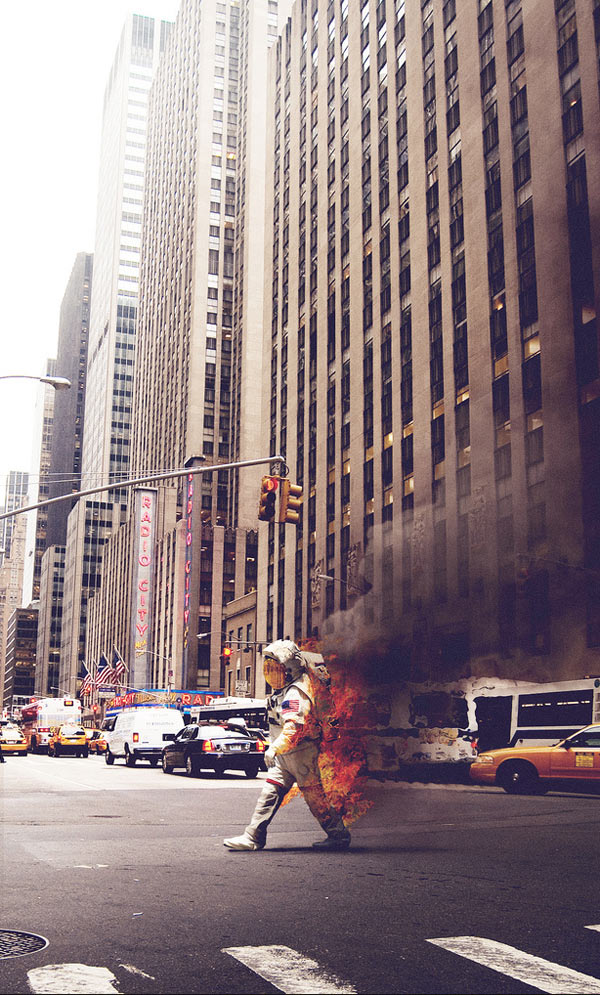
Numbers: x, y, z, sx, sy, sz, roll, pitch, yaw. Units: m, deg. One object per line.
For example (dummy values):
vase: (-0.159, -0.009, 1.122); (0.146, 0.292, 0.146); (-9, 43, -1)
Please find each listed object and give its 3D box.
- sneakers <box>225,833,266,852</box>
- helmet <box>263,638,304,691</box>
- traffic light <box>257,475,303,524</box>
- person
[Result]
sneakers: (-0.497, 3.052, 8.090); (0.366, 0.220, 0.153); (-2, -2, 7)
helmet: (-0.197, 1.558, 8.556); (0.398, 0.535, 0.360); (2, -13, -29)
traffic light: (-0.349, 0.105, 16.612); (0.709, 1.080, 0.714); (-1, -7, 23)
person: (-0.128, 2.206, 8.312); (1.057, 1.855, 0.638); (11, -15, -43)
